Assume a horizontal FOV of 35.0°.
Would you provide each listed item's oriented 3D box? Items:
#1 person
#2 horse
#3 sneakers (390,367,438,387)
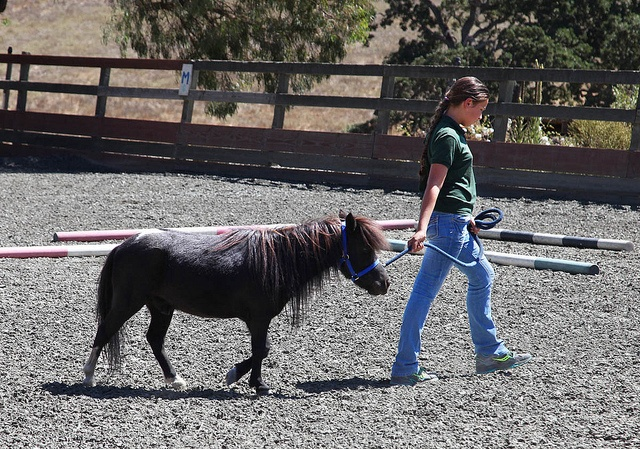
[{"bbox_3d":[1.458,0.060,10.767,1.271,3.200,0.777,3,11,1],"label":"person"},{"bbox_3d":[-0.947,0.878,10.835,3.204,2.059,0.867,2,5,8],"label":"horse"},{"bbox_3d":[0.980,1.627,10.832,0.546,0.245,0.190,-5,5,-13],"label":"sneakers"}]
